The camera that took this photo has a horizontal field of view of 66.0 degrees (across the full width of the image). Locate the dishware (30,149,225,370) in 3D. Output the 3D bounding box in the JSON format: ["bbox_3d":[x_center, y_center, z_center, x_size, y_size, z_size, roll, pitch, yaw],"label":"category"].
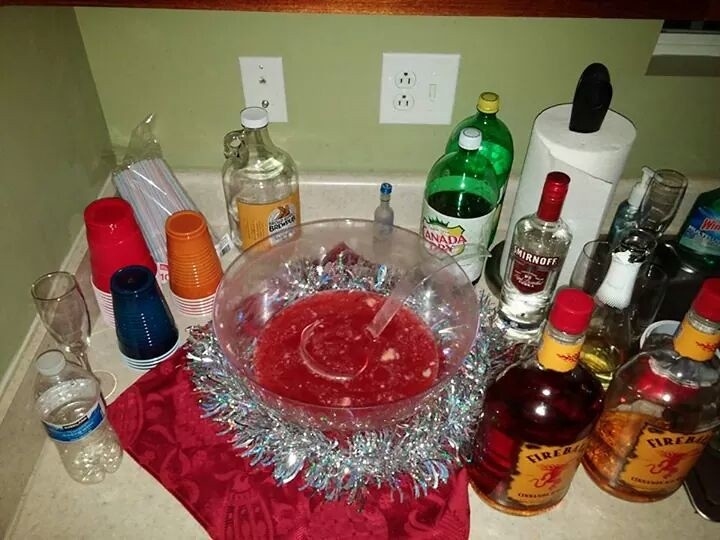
[{"bbox_3d":[-0.446,-0.070,1.167,0.212,0.366,0.370,28,52,30],"label":"dishware"}]

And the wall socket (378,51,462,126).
[{"bbox_3d":[0.131,-0.404,1.211,0.162,0.165,0.012,1,38,-2],"label":"wall socket"}]

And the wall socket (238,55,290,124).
[{"bbox_3d":[-0.215,-0.401,1.239,0.105,0.165,0.017,-1,52,-7],"label":"wall socket"}]

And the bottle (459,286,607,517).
[{"bbox_3d":[0.270,0.212,0.837,0.169,0.396,0.123,13,36,17],"label":"bottle"}]

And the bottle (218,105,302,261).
[{"bbox_3d":[-0.231,-0.215,1.303,0.185,0.335,0.190,1,44,-1],"label":"bottle"}]

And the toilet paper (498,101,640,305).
[{"bbox_3d":[0.404,-0.130,1.102,0.176,0.345,0.156,17,37,22],"label":"toilet paper"}]

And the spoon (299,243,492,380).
[{"bbox_3d":[0.072,0.089,1.060,0.153,0.137,0.385,43,41,23],"label":"spoon"}]
